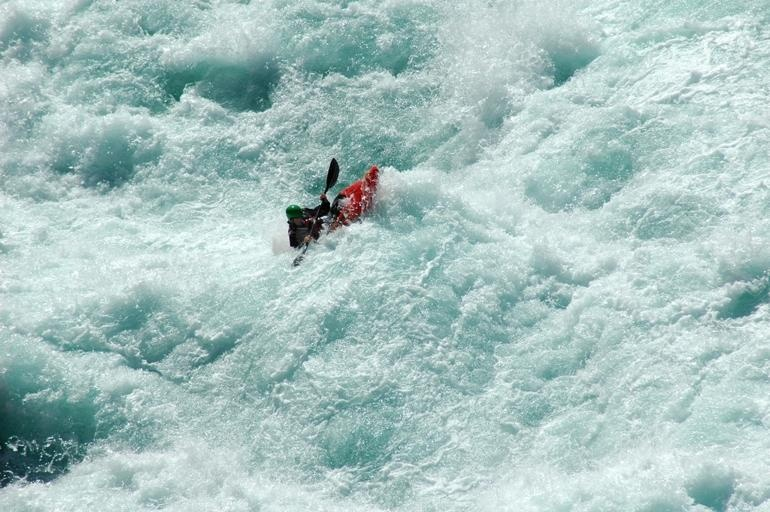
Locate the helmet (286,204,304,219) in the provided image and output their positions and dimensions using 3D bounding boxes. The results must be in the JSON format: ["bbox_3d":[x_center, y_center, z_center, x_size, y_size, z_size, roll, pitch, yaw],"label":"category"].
[{"bbox_3d":[-1.998,-0.996,23.107,0.389,0.266,0.271,-11,38,-9],"label":"helmet"}]

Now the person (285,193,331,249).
[{"bbox_3d":[-1.692,-0.732,23.306,1.538,0.466,0.814,-26,46,-36],"label":"person"}]

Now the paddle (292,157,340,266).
[{"bbox_3d":[-1.537,-0.910,23.532,0.355,0.208,2.902,23,72,29],"label":"paddle"}]
